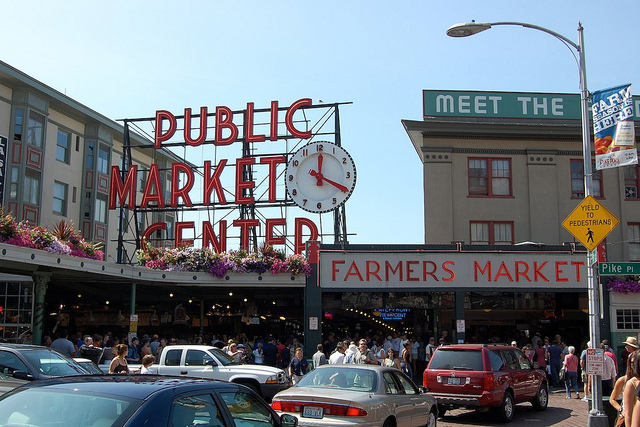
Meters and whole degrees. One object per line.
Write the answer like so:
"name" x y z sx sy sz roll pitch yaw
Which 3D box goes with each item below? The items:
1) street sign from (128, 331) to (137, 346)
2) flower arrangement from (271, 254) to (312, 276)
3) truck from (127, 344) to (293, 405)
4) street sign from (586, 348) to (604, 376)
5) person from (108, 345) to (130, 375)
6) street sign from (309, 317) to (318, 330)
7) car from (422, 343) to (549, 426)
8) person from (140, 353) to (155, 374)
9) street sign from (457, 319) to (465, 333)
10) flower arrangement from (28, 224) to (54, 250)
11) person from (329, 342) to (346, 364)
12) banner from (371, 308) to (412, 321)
"street sign" -8.566 5.634 36.393 0.289 0.647 1.089 3 -13 -11
"flower arrangement" -1.369 2.401 37.916 1.845 0.997 0.534 1 -13 -4
"truck" -3.750 6.038 28.138 6.283 2.078 2.706 -2 -7 4
"street sign" 8.146 4.389 23.759 0.462 0.783 0.284 -1 -13 8
"person" -6.050 4.373 24.213 0.330 0.789 0.602 -6 -14 28
"street sign" -0.321 5.182 37.660 0.563 0.778 0.077 0 -21 0
"car" 6.008 5.776 28.109 2.368 1.925 4.356 -5 -6 38
"person" -5.260 4.565 24.339 0.311 0.517 1.442 3 -13 -12
"street sign" 6.540 5.243 37.334 0.527 0.730 0.381 0 -12 0
"flower arrangement" -11.607 0.988 32.901 0.915 1.000 0.980 -1 1 13
"person" 0.582 5.007 28.823 0.481 0.737 1.068 -2 -13 12
"banner" 3.567 5.087 40.655 1.715 0.501 1.200 2 -13 -6
